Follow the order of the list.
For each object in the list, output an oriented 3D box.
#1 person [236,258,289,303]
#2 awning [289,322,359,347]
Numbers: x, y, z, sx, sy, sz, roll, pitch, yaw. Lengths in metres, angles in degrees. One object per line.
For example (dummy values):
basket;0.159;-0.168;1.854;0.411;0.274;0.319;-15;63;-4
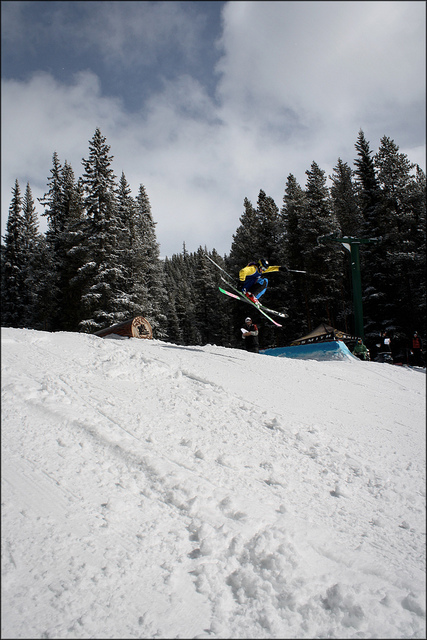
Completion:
person;1.138;-1.068;13.537;0.599;1.130;1.616;16;-1;21
awning;4.220;0.773;19.167;1.436;1.008;2.532;7;11;-15
